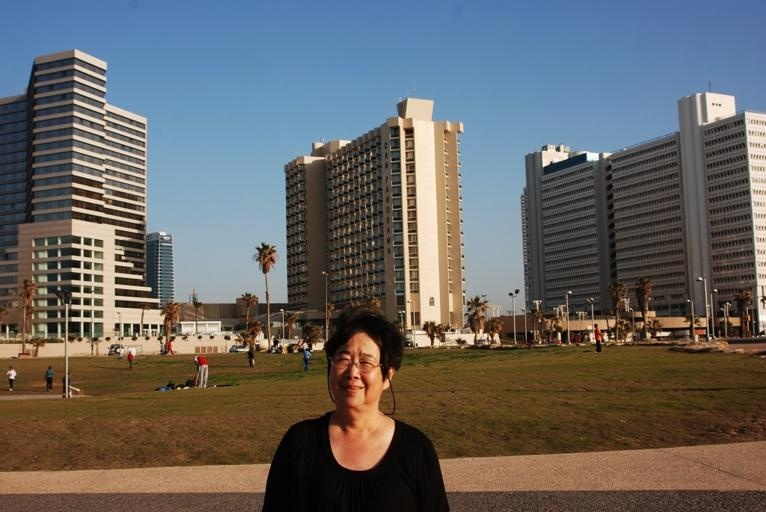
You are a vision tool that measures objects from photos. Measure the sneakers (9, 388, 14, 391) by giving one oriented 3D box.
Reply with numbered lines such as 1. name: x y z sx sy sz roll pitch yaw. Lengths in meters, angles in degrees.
1. sneakers: -24.931 8.859 47.013 0.160 0.147 0.273 4 -8 -8

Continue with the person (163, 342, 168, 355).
1. person: -36.670 15.417 118.074 1.112 1.546 0.586 3 -6 39

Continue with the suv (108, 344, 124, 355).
1. suv: -41.833 14.325 109.840 2.211 1.621 3.353 1 -13 -6
